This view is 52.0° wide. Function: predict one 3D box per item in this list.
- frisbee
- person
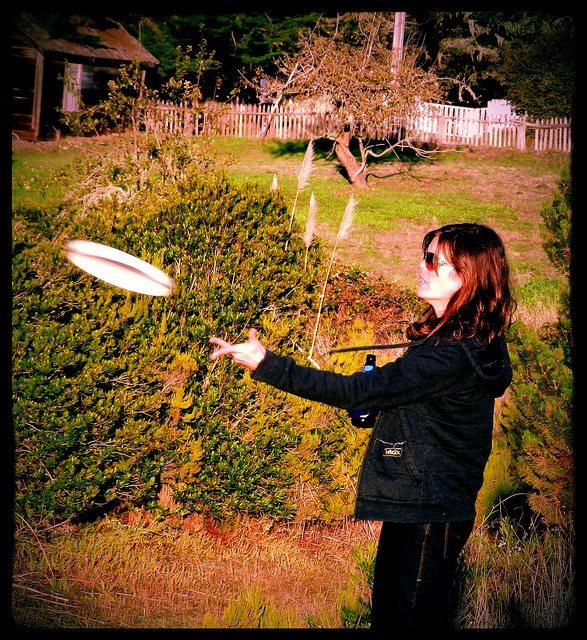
[{"bbox_3d":[-0.768,-0.231,2.665,0.378,0.101,0.256,26,31,-5],"label":"frisbee"},{"bbox_3d":[0.430,0.417,2.313,0.890,1.583,0.482,-4,12,-44],"label":"person"}]
